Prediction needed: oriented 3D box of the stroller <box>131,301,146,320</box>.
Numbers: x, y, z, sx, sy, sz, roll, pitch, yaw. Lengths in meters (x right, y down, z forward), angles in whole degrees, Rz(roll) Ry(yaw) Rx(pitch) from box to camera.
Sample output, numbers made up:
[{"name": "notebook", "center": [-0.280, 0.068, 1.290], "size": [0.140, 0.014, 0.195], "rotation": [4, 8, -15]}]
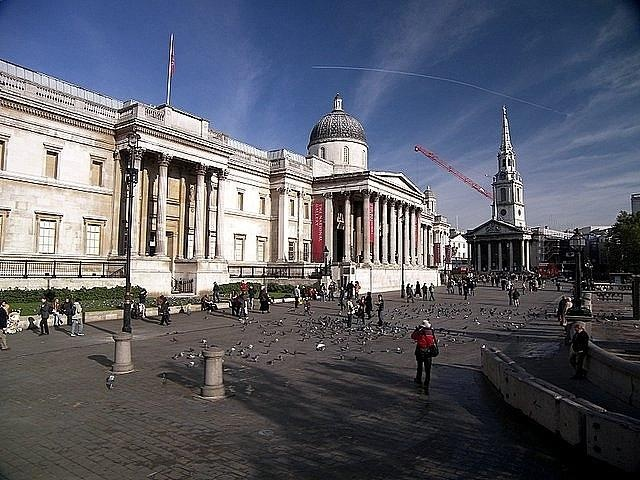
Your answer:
[{"name": "stroller", "center": [-9.775, 3.817, 28.945], "size": [0.751, 1.019, 0.778], "rotation": [0, -2, -10]}]

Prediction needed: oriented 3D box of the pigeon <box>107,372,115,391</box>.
[{"name": "pigeon", "center": [-6.241, 4.240, 15.922], "size": [0.116, 0.353, 0.144], "rotation": [8, 8, -8]}]
